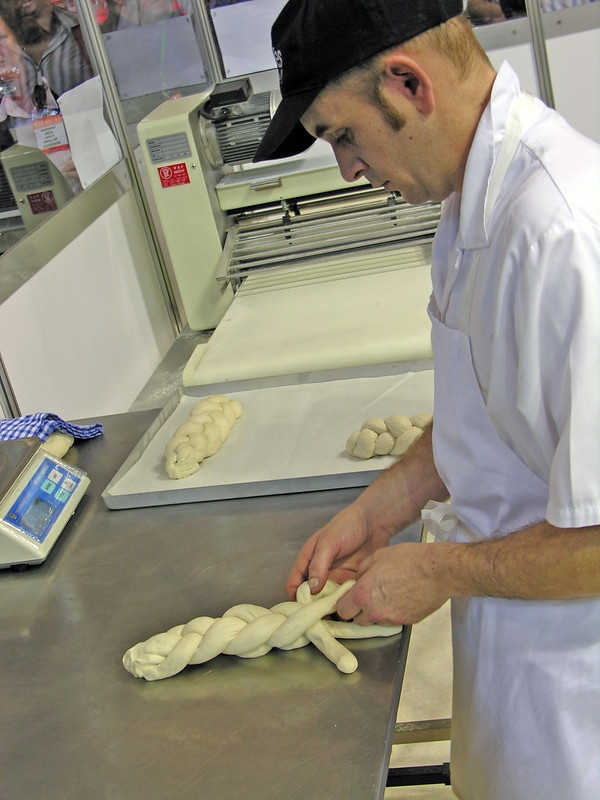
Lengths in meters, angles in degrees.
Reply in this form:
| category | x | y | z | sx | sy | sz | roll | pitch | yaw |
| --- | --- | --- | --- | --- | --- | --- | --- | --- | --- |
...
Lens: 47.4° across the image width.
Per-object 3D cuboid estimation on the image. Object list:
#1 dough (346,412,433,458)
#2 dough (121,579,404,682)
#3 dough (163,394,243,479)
| category | x | y | z | sx | sy | sz | roll | pitch | yaw |
| --- | --- | --- | --- | --- | --- | --- | --- | --- | --- |
| dough | 0.158 | 0.067 | 1.302 | 0.166 | 0.050 | 0.081 | -13 | 31 | -1 |
| dough | -0.050 | 0.307 | 0.906 | 0.336 | 0.066 | 0.145 | -5 | 12 | -2 |
| dough | -0.219 | 0.079 | 1.468 | 0.132 | 0.072 | 0.304 | 14 | 26 | 10 |
